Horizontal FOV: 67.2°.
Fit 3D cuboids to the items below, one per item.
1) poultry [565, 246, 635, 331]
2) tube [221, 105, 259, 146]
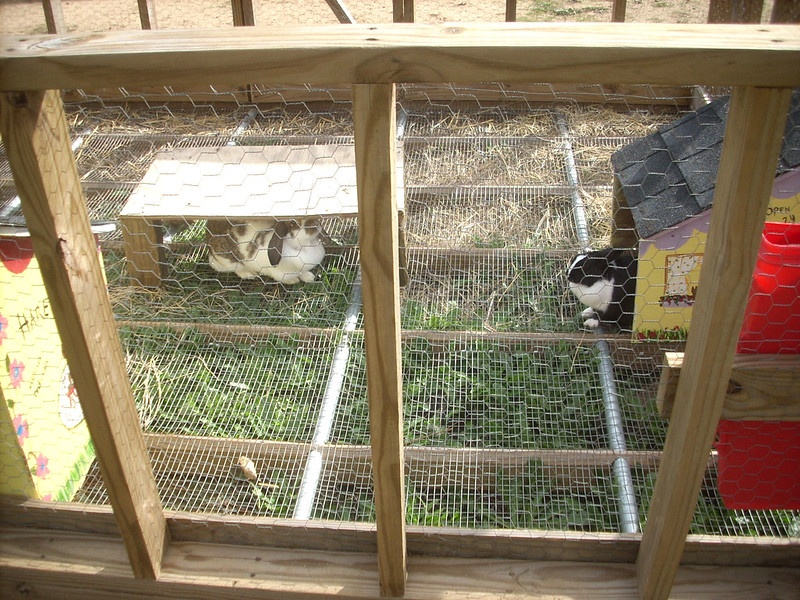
[{"bbox_3d":[1.224,-0.062,3.621,0.597,0.485,0.340,-2,13,18],"label":"poultry"},{"bbox_3d":[-1.505,-1.652,5.736,0.120,0.749,0.103,-26,-64,29],"label":"tube"}]
